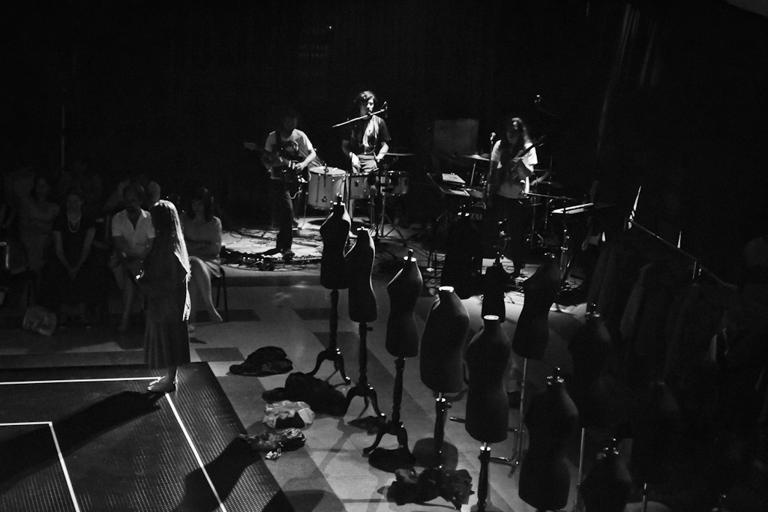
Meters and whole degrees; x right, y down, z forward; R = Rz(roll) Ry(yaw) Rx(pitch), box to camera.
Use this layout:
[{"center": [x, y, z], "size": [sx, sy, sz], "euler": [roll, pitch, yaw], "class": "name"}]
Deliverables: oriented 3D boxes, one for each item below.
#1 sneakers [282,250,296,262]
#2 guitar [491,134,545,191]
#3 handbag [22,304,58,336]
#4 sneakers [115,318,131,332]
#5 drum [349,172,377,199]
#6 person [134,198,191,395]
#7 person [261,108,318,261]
[{"center": [-1.557, 0.001, 9.859], "size": [0.306, 0.163, 0.167], "euler": [2, -26, -1], "class": "sneakers"}, {"center": [1.831, -1.230, 8.520], "size": [0.616, 0.803, 0.362], "euler": [4, 14, 13], "class": "guitar"}, {"center": [-4.021, 0.745, 7.018], "size": [0.335, 0.305, 0.334], "euler": [-4, 14, -20], "class": "handbag"}, {"center": [-3.134, 0.807, 7.227], "size": [0.150, 0.130, 0.313], "euler": [-5, 15, -24], "class": "sneakers"}, {"center": [-0.390, -1.231, 10.796], "size": [0.394, 0.508, 0.726], "euler": [1, 7, 0], "class": "drum"}, {"center": [-2.117, 0.287, 5.799], "size": [0.450, 1.599, 0.293], "euler": [-5, 15, -22], "class": "person"}, {"center": [-1.625, -1.208, 10.058], "size": [0.800, 2.361, 1.083], "euler": [2, 14, 3], "class": "person"}]
